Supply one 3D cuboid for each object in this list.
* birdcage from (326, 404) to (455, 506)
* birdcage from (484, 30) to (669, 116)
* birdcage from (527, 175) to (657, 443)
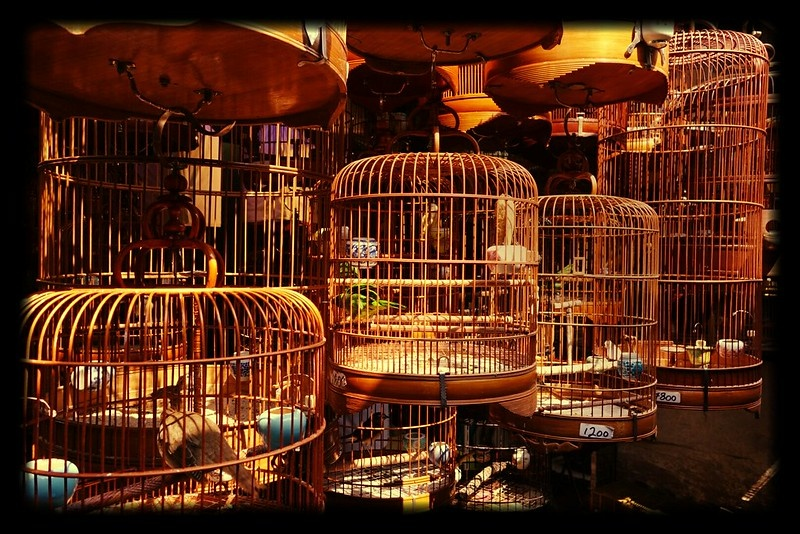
[{"bbox_3d":[-0.071,1.226,7.584,1.049,1.086,1.069,-1,-7,6],"label":"birdcage"},{"bbox_3d":[1.215,-1.401,7.110,1.250,0.489,1.254,-7,21,-21],"label":"birdcage"},{"bbox_3d":[1.537,0.278,7.983,0.953,1.943,2.115,-1,-2,10],"label":"birdcage"}]
